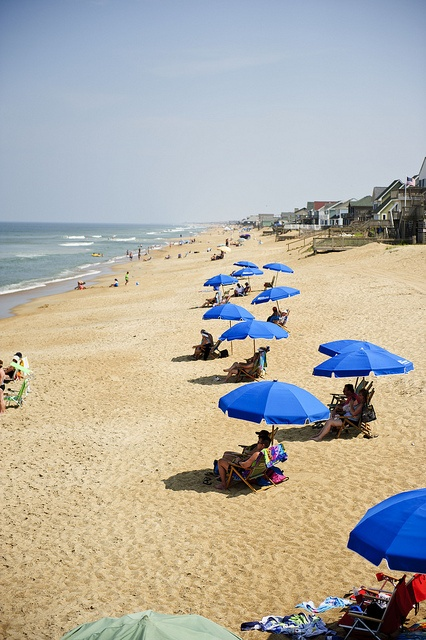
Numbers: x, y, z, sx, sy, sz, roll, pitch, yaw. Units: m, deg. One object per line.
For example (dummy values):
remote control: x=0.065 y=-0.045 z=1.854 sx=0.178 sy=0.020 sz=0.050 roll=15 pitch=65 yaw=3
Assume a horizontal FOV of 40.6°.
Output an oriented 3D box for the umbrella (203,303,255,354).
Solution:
umbrella: x=0.460 y=0.329 z=17.924 sx=1.736 sy=1.123 sz=1.745 roll=1 pitch=2 yaw=-12

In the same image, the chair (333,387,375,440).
chair: x=2.879 y=1.937 z=11.606 sx=0.796 sy=0.827 sz=0.729 roll=-6 pitch=-4 yaw=5

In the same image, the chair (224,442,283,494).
chair: x=0.689 y=2.506 z=9.777 sx=0.978 sy=0.645 sz=0.718 roll=-9 pitch=-9 yaw=34

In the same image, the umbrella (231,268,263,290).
umbrella: x=1.909 y=-2.308 z=32.801 sx=2.009 sy=0.636 sz=2.028 roll=1 pitch=-1 yaw=28

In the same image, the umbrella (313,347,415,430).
umbrella: x=2.809 y=1.043 z=11.411 sx=1.388 sy=0.956 sz=1.895 roll=-11 pitch=13 yaw=-30

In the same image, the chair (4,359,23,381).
chair: x=-5.739 y=1.441 z=16.521 sx=0.476 sy=0.551 sz=0.411 roll=15 pitch=19 yaw=-3

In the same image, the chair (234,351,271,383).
chair: x=1.089 y=1.216 z=15.477 sx=0.909 sy=1.139 sz=0.781 roll=-1 pitch=3 yaw=10

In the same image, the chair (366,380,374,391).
chair: x=3.470 y=1.450 z=12.753 sx=0.131 sy=0.130 sz=0.476 roll=38 pitch=7 yaw=9

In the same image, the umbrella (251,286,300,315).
umbrella: x=2.104 y=-0.825 z=19.144 sx=1.589 sy=0.444 sz=0.995 roll=-14 pitch=15 yaw=-42

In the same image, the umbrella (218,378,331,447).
umbrella: x=0.921 y=1.461 z=9.499 sx=1.072 sy=0.692 sz=1.004 roll=3 pitch=6 yaw=-5

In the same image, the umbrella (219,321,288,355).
umbrella: x=1.031 y=0.288 z=14.473 sx=1.632 sy=0.440 sz=0.929 roll=2 pitch=13 yaw=30

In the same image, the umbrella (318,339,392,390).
umbrella: x=2.797 y=0.924 z=12.086 sx=1.085 sy=0.647 sz=1.023 roll=-4 pitch=10 yaw=1

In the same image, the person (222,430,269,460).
person: x=0.571 y=2.123 z=9.858 sx=0.804 sy=0.604 sz=0.438 roll=4 pitch=3 yaw=9

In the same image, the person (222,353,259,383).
person: x=0.748 y=1.304 z=15.562 sx=1.028 sy=0.891 sz=0.593 roll=-4 pitch=0 yaw=2

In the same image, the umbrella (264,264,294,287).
umbrella: x=2.984 y=-2.211 z=26.681 sx=1.023 sy=1.023 sz=1.034 roll=6 pitch=-4 yaw=3

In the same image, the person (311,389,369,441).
person: x=2.558 y=1.899 z=11.638 sx=0.927 sy=1.176 sz=0.566 roll=2 pitch=22 yaw=-8
